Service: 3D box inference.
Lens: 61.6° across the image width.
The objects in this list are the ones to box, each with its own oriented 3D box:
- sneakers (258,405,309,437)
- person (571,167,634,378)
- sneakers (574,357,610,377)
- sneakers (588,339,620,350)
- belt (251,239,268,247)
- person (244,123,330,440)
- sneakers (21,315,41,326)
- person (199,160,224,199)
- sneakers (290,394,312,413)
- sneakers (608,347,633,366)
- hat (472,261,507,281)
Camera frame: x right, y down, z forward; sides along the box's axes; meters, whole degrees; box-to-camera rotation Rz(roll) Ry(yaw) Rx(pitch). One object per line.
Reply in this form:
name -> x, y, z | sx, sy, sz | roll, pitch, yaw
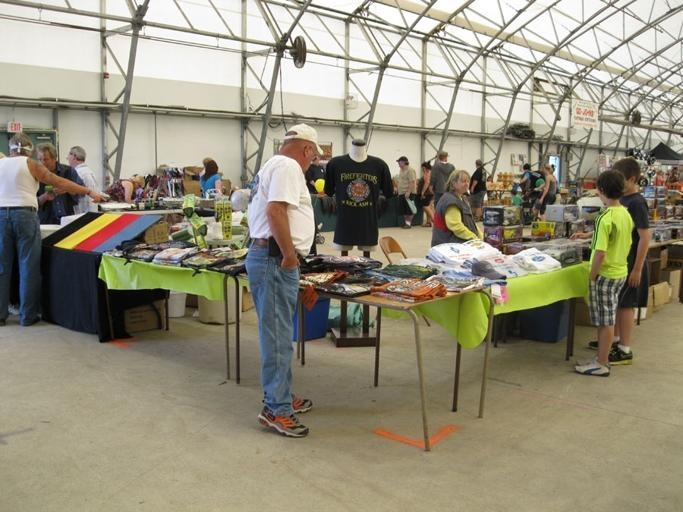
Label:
sneakers -> -0.392, 1.110, 3.882 | 0.372, 0.169, 0.139 | 11, 4, 20
person -> 2.184, 0.144, 4.725 | 0.318, 1.670, 0.473 | 6, 14, 26
sneakers -> 2.103, 0.912, 4.760 | 0.244, 0.102, 0.143 | 5, 4, 24
sneakers -> 2.449, 0.824, 5.356 | 0.212, 0.089, 0.072 | 2, 2, 16
belt -> -0.552, -0.090, 3.751 | 0.158, 0.052, 0.039 | 11, 16, 40
person -> -0.408, 0.150, 3.806 | 0.462, 2.003, 0.544 | -1, 12, -4
sneakers -> -3.244, 0.668, 5.928 | 0.100, 0.114, 0.296 | 1, -3, -42
person -> -2.117, -1.216, 9.200 | 0.360, 0.651, 2.745 | -2, 13, -13
sneakers -> -0.282, 1.064, 4.124 | 0.201, 0.096, 0.072 | 0, 3, 29
sneakers -> 2.499, 0.885, 5.021 | 0.277, 0.117, 0.100 | 2, 1, -2
hat -> 1.073, 0.104, 4.176 | 0.213, 0.092, 0.280 | -1, 12, -9
